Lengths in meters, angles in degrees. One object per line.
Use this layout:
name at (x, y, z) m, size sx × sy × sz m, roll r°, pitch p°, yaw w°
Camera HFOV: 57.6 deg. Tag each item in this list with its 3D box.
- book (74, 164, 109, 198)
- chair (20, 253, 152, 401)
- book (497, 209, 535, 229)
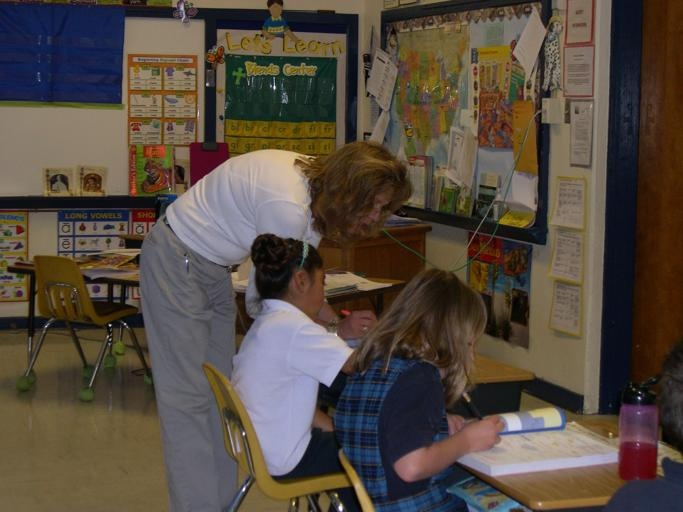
book at (-2.279, -0.689, 5.622) m, size 0.234 × 0.256 × 0.083 m, roll 9°, pitch 11°, yaw -18°
chair at (-1.845, 0.455, 4.468) m, size 0.778 × 0.998 × 0.918 m, roll 2°, pitch 5°, yaw -3°
book at (1.172, -0.246, 4.123) m, size 0.012 × 0.103 × 0.274 m, roll 10°, pitch 0°, yaw -31°
